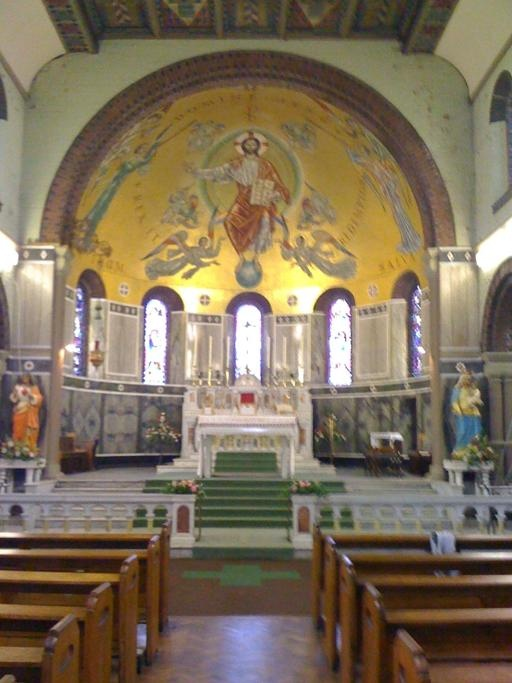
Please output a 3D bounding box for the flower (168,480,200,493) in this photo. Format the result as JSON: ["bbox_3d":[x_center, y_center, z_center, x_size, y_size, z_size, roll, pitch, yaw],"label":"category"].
[{"bbox_3d":[-0.991,1.984,10.358,0.398,0.171,0.282,2,-5,-10],"label":"flower"}]

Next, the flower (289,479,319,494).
[{"bbox_3d":[0.677,1.959,10.317,0.254,0.120,0.247,2,-2,7],"label":"flower"}]

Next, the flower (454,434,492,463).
[{"bbox_3d":[3.770,1.891,13.310,0.433,0.340,0.484,-2,-1,-16],"label":"flower"}]

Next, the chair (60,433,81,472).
[{"bbox_3d":[-4.009,2.416,16.463,0.424,0.832,1.498,2,-5,-13],"label":"chair"}]
